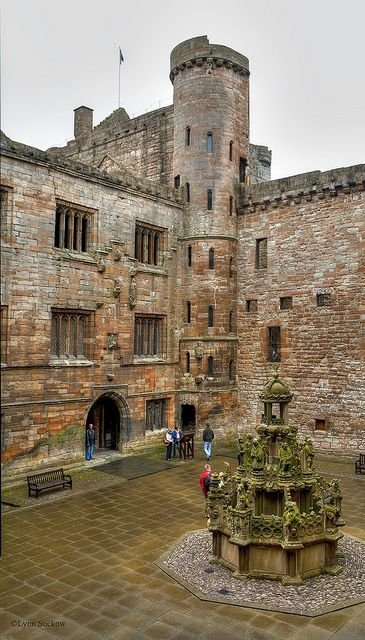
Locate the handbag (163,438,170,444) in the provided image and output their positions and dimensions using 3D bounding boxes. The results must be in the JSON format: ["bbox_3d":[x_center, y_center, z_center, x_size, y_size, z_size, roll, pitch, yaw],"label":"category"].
[{"bbox_3d":[-0.566,4.301,18.590,0.140,0.212,0.328,1,-4,-31],"label":"handbag"}]

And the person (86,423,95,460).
[{"bbox_3d":[-3.270,4.296,18.478,0.245,1.304,0.887,0,-4,-16],"label":"person"}]
